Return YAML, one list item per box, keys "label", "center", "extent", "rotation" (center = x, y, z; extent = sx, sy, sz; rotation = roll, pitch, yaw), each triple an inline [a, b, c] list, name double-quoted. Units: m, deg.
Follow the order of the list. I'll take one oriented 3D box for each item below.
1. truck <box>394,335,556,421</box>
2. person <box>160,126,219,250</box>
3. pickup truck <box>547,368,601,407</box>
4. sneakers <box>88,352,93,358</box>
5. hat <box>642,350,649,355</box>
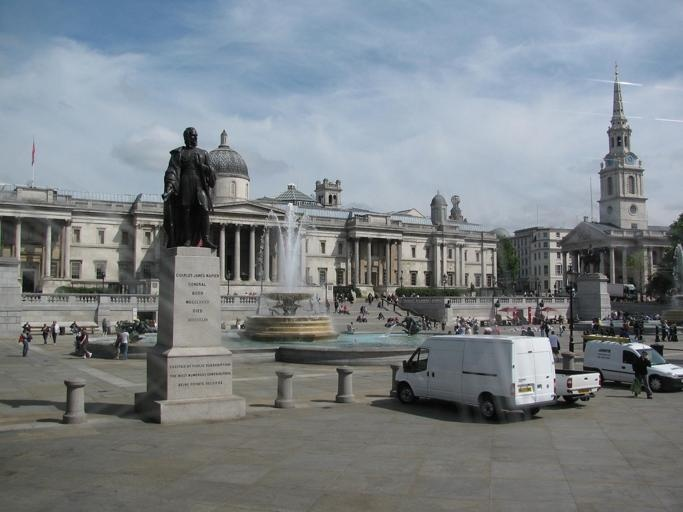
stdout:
- label: "truck"
  center: [4.287, 3.656, 28.355]
  extent: [4.298, 1.874, 2.379]
  rotation: [0, -5, 44]
- label: "person"
  center: [-4.472, -1.999, 26.430]
  extent: [1.472, 3.546, 0.631]
  rotation: [1, -4, -11]
- label: "pickup truck"
  center: [7.897, 4.324, 30.082]
  extent: [1.335, 0.766, 2.341]
  rotation: [-4, -8, 0]
- label: "sneakers"
  center: [-11.649, 4.558, 41.679]
  extent: [0.319, 0.164, 0.205]
  rotation: [-1, 34, -20]
- label: "hat"
  center: [11.370, 3.572, 33.272]
  extent: [0.210, 0.128, 0.272]
  rotation: [-1, 0, 10]
